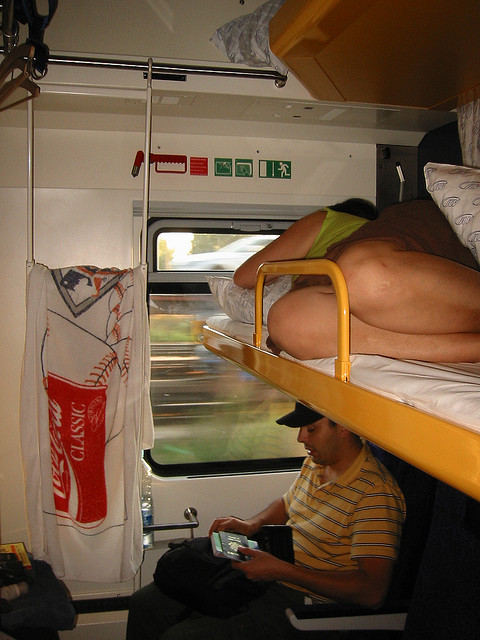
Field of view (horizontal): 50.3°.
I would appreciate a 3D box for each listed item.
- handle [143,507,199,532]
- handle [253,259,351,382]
[{"bbox_3d":[-0.428,1.327,3.255,0.366,0.092,0.261,-1,5,-13],"label":"handle"},{"bbox_3d":[0.119,-0.016,1.103,0.030,0.219,0.403,-5,8,-22],"label":"handle"}]
